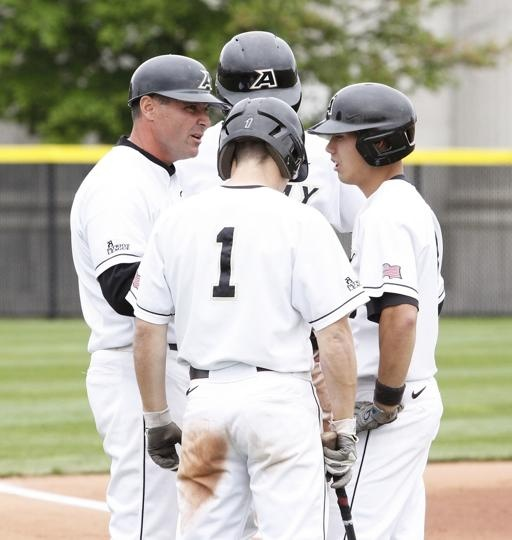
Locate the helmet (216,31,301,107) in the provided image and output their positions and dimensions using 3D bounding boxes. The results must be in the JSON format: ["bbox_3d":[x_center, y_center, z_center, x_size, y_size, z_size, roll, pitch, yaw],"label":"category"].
[{"bbox_3d":[0.029,-1.253,8.399,0.392,0.290,0.563,-3,43,-2],"label":"helmet"}]

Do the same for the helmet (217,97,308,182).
[{"bbox_3d":[0.060,-0.738,7.293,0.384,0.385,0.503,2,-16,11],"label":"helmet"}]

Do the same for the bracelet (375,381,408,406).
[{"bbox_3d":[0.750,0.699,7.500,0.162,0.147,0.084,1,9,2],"label":"bracelet"}]

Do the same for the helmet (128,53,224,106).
[{"bbox_3d":[-0.504,-1.090,7.938,0.419,0.217,0.337,1,1,13],"label":"helmet"}]

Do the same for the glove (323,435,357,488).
[{"bbox_3d":[0.464,1.035,7.239,0.199,0.276,0.132,-12,-7,38],"label":"glove"}]

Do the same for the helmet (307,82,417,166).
[{"bbox_3d":[0.631,-0.831,7.722,0.554,0.420,0.429,3,4,9],"label":"helmet"}]
